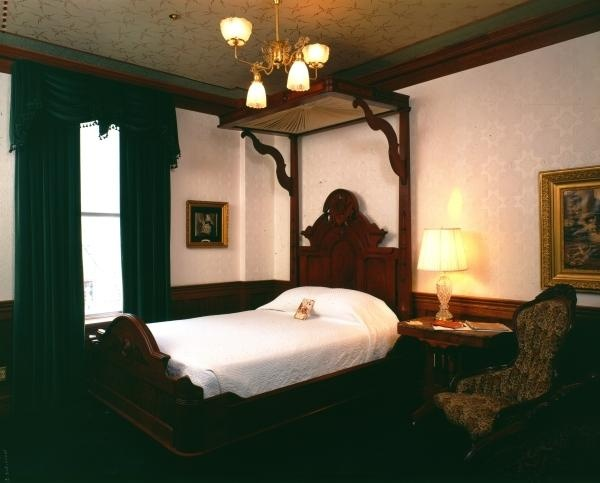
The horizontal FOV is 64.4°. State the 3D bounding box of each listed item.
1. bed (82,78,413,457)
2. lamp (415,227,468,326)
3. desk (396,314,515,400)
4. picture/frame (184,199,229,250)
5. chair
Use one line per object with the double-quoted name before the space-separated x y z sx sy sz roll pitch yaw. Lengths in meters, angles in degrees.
"bed" -0.644 0.062 5.635 3.570 3.855 2.405 -2 2 -43
"lamp" 1.362 0.326 4.556 0.458 0.868 0.449 -2 -1 31
"desk" 1.327 1.023 4.417 0.796 0.583 0.461 -6 3 34
"picture/frame" -1.178 -0.215 5.885 0.597 0.623 0.044 3 -4 -43
"chair" 1.479 0.898 3.524 0.863 1.200 0.748 0 3 -18
